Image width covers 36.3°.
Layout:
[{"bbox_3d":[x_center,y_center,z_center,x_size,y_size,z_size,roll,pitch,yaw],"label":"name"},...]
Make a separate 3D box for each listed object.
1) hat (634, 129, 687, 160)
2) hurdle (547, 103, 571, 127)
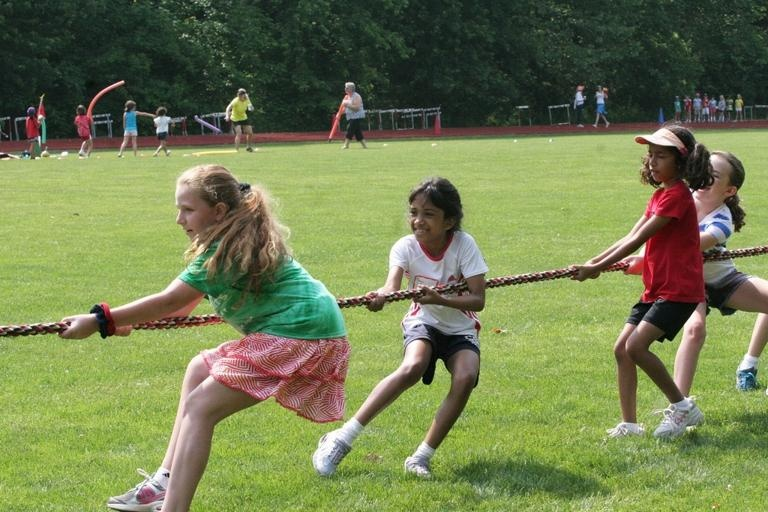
[{"bbox_3d":[2.703,-1.067,11.401,0.407,0.129,0.275,18,0,-16],"label":"hat"},{"bbox_3d":[7.279,-5.885,48.707,1.160,1.014,0.837,1,37,12],"label":"hurdle"}]
